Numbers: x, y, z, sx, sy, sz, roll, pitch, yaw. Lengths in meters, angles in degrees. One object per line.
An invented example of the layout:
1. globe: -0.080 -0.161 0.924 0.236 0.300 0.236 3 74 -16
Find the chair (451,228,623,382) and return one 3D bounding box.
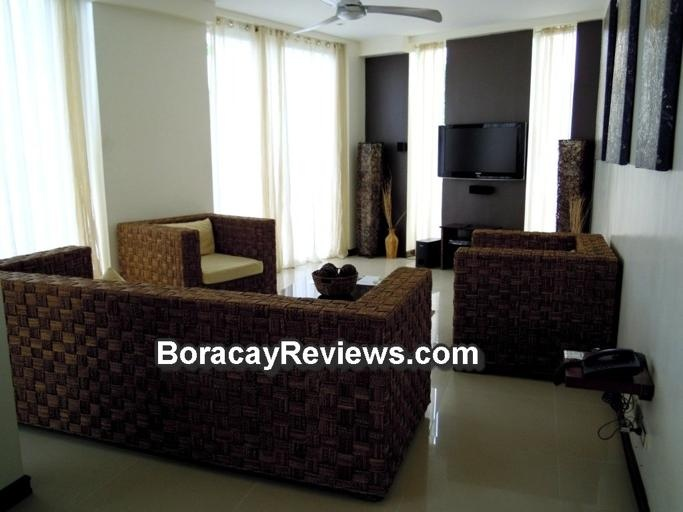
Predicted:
1. chair: 1.407 0.277 3.913 0.925 0.862 1.067 4 12 22

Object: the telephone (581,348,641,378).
1. telephone: 1.283 0.515 2.593 0.161 0.080 0.178 -2 5 17

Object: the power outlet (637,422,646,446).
1. power outlet: 1.442 0.853 2.615 0.018 0.099 0.160 4 14 20

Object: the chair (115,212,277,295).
1. chair: -1.350 -0.025 4.930 0.932 0.790 0.929 6 9 35

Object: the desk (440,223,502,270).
1. desk: 1.601 -0.108 6.859 0.590 0.564 0.452 6 13 30
